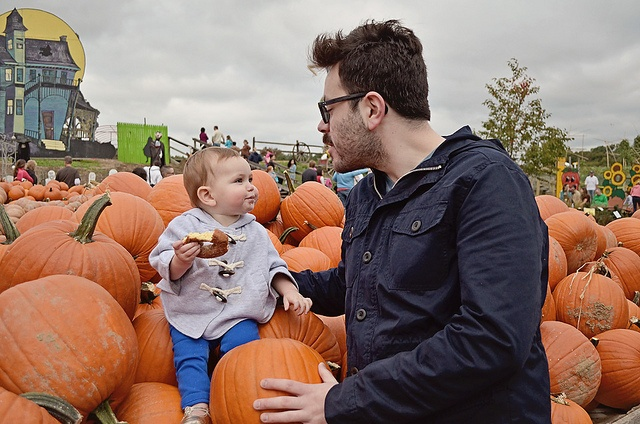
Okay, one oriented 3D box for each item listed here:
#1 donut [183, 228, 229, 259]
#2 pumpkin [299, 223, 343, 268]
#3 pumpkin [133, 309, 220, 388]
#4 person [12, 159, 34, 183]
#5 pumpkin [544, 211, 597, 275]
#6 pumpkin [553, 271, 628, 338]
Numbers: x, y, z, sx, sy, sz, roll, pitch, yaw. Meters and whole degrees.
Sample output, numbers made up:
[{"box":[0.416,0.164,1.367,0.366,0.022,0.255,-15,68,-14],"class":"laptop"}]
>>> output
[{"box":[-0.750,0.253,3.554,0.209,0.089,0.227,-9,-26,9],"class":"donut"},{"box":[0.030,0.336,5.733,0.377,0.398,0.398,-16,6,15],"class":"pumpkin"},{"box":[-0.986,0.986,3.698,0.424,0.460,0.431,5,-11,-25],"class":"pumpkin"},{"box":[-6.865,-0.932,12.265,0.399,0.530,1.137,0,6,-31],"class":"person"},{"box":[2.673,0.358,5.622,0.377,0.411,0.468,-31,-13,-2],"class":"pumpkin"},{"box":[2.798,0.918,5.469,0.601,0.626,0.635,17,-5,34],"class":"pumpkin"}]
